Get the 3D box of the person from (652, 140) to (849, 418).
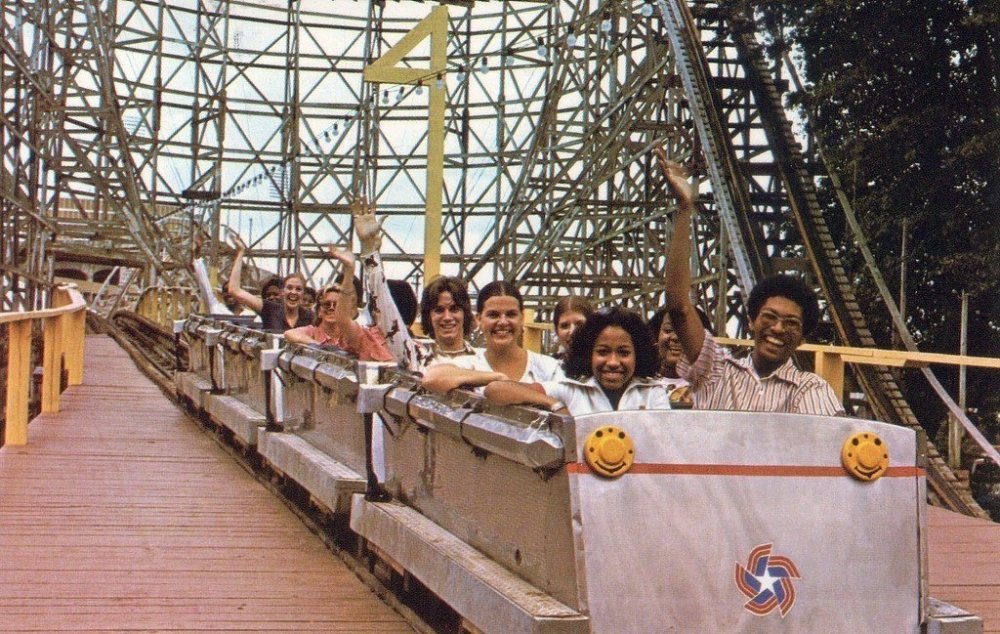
[{"bbox_3d":[1.768,-0.268,8.361,1.285,1.865,0.429,1,3,-2],"label":"person"}]
